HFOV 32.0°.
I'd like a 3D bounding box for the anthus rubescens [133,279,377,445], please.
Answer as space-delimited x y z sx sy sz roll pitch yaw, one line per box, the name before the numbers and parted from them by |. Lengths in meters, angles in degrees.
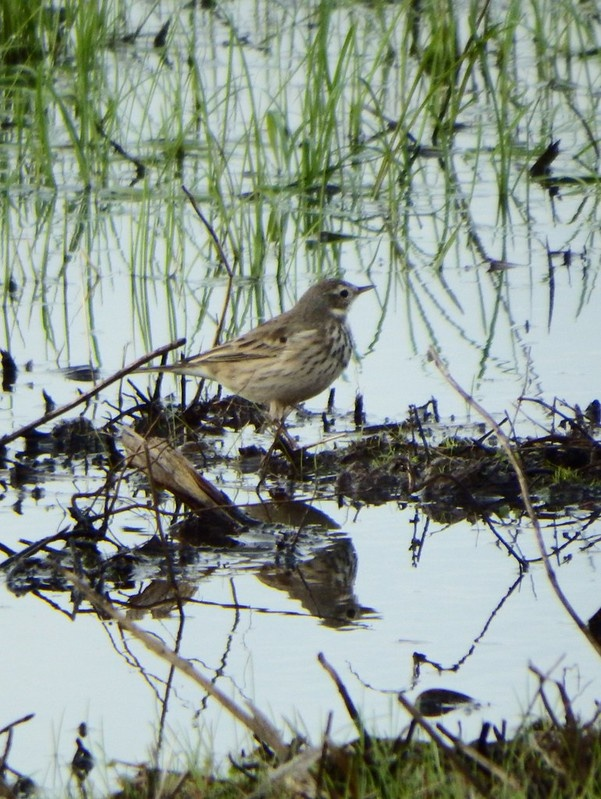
anthus rubescens | -0.134 -0.285 5.922 0.706 0.830 1.167 1 4 43
